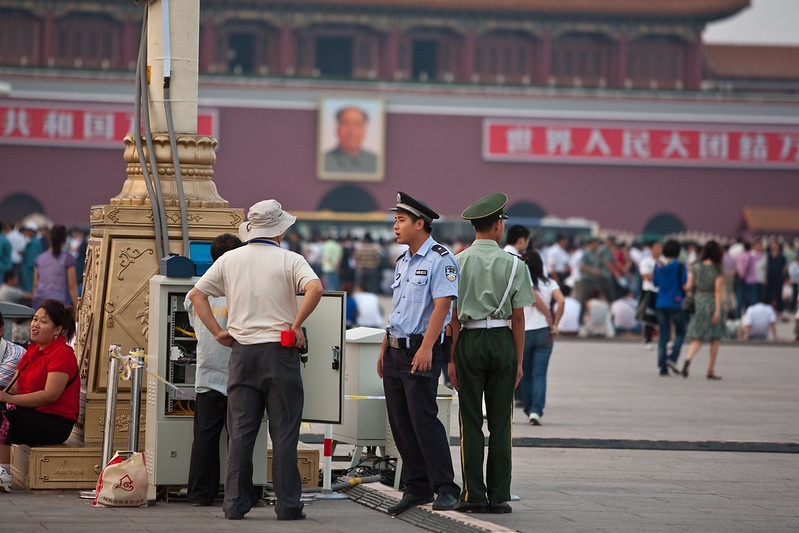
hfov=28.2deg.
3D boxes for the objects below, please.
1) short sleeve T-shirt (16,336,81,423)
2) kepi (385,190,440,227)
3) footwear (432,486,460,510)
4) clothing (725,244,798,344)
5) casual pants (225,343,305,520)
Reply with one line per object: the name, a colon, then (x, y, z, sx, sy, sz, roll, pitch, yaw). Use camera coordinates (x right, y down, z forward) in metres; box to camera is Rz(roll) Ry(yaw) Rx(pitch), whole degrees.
short sleeve T-shirt: (-4.325, 1.430, 19.485, 0.889, 0.901, 0.507, -5, -15, 38)
kepi: (0.187, -0.687, 19.307, 0.473, 0.196, 0.410, 17, -4, -5)
footwear: (0.554, 2.790, 19.080, 0.321, 0.286, 0.107, 0, -1, 0)
clothing: (6.162, 0.501, 27.114, 1.038, 1.202, 3.776, 2, 31, 16)
casual pants: (-1.633, 1.965, 18.942, 0.934, 2.100, 0.232, 0, -1, -6)
